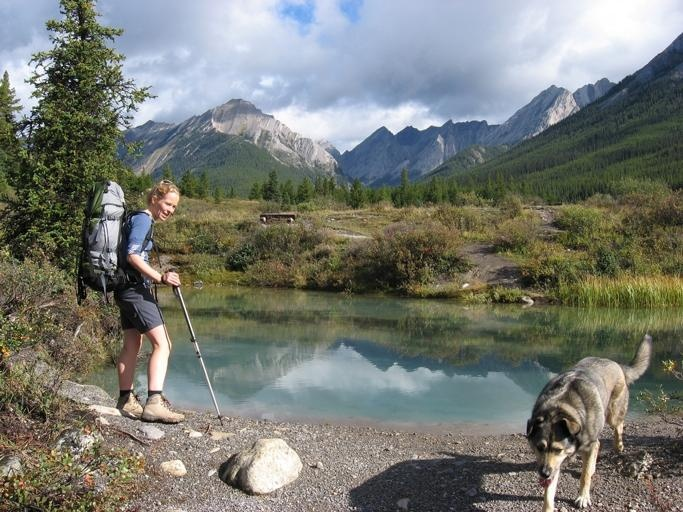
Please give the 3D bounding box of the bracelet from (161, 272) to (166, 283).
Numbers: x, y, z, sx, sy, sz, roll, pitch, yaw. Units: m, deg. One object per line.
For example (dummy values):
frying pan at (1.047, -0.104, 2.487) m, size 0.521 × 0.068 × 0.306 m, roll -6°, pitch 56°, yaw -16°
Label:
bracelet at (-2.463, 0.303, 7.365) m, size 0.050 × 0.109 × 0.195 m, roll -1°, pitch 2°, yaw -23°

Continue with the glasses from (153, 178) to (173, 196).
glasses at (-2.654, -1.039, 7.945) m, size 0.132 × 0.304 × 0.227 m, roll 27°, pitch 20°, yaw 11°
